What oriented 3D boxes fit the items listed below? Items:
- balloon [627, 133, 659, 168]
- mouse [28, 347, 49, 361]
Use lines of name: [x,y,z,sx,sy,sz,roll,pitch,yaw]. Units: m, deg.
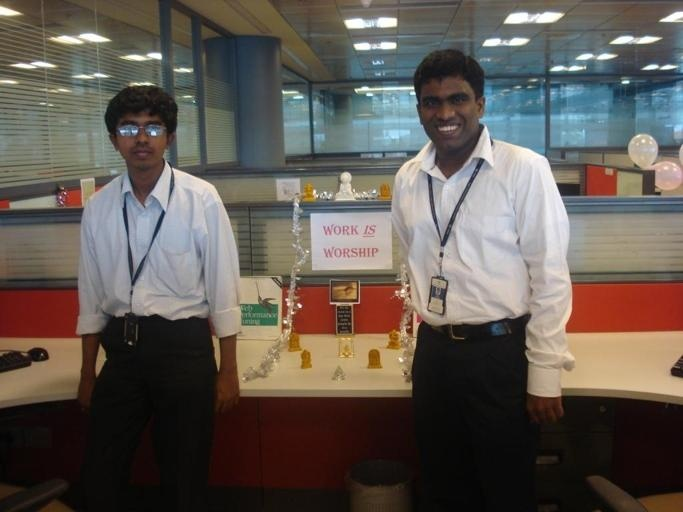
balloon: [3.347,-1.125,6.884,0.302,0.522,0.308,3,10,37]
mouse: [-1.358,0.440,2.752,0.073,0.041,0.049,0,10,-3]
